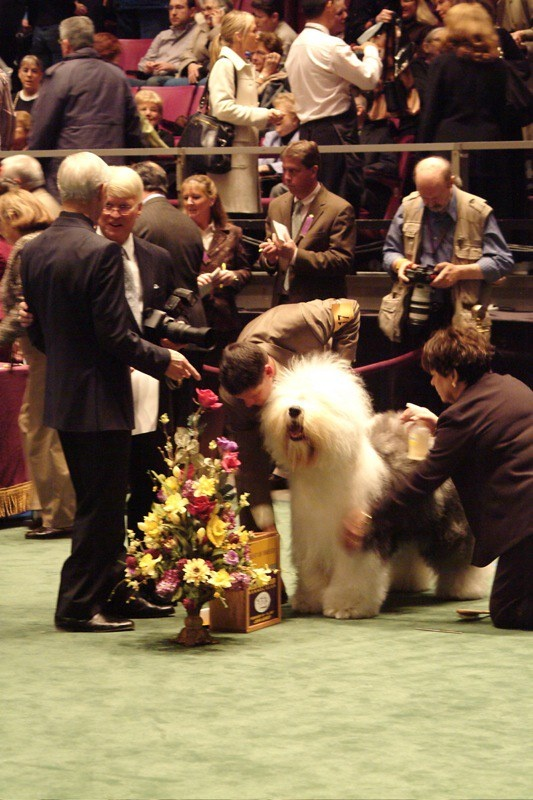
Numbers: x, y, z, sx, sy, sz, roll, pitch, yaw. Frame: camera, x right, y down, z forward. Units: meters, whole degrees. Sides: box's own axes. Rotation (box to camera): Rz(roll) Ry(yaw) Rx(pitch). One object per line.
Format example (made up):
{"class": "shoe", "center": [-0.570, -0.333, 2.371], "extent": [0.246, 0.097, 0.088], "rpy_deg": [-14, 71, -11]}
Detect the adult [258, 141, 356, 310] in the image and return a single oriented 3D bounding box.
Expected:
{"class": "adult", "center": [0.248, -1.050, 4.376], "extent": [0.566, 0.906, 0.558], "rpy_deg": [-1, -6, -1]}

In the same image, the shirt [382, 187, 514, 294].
{"class": "shirt", "center": [1.096, -1.003, 4.378], "extent": [0.807, 0.546, 0.403], "rpy_deg": [12, 42, 22]}

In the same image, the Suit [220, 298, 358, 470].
{"class": "Suit", "center": [0.131, -0.148, 3.308], "extent": [0.517, 0.592, 0.728], "rpy_deg": [-7, 2, 42]}

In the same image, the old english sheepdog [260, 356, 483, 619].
{"class": "old english sheepdog", "center": [0.416, 0.390, 2.945], "extent": [1.064, 0.929, 0.526], "rpy_deg": [6, -7, -37]}

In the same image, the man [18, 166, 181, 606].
{"class": "man", "center": [-0.572, -0.015, 2.728], "extent": [0.599, 1.675, 0.571], "rpy_deg": [-3, 7, -35]}

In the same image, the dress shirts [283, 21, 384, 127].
{"class": "dress shirts", "center": [0.468, -2.270, 4.991], "extent": [0.610, 0.716, 0.637], "rpy_deg": [-22, 31, -29]}

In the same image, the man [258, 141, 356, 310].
{"class": "man", "center": [0.245, -1.050, 4.377], "extent": [0.573, 0.906, 0.565], "rpy_deg": [-1, -6, 1]}

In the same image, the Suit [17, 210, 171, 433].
{"class": "Suit", "center": [-0.631, -0.287, 2.659], "extent": [0.481, 0.699, 0.590], "rpy_deg": [-4, 10, -39]}

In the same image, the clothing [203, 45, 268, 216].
{"class": "clothing", "center": [-0.155, -1.869, 5.087], "extent": [0.461, 1.091, 0.489], "rpy_deg": [-1, 22, 0]}
